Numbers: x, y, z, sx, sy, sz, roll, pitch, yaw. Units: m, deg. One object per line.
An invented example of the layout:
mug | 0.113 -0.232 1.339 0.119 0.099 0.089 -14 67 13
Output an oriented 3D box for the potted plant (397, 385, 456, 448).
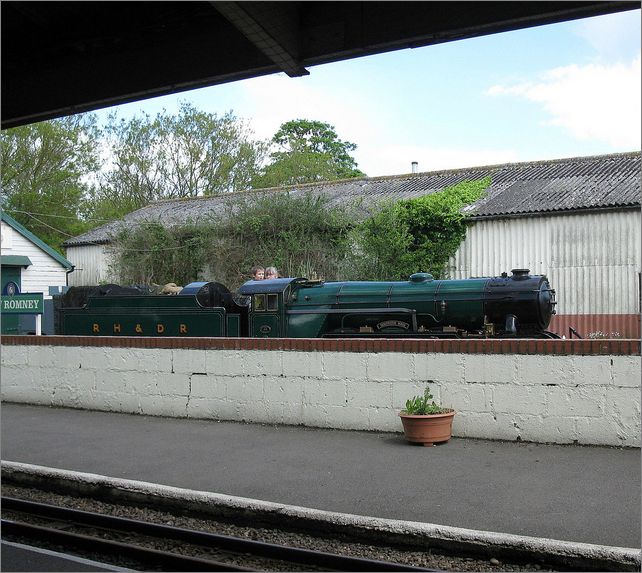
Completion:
potted plant | 1.478 1.800 8.920 0.755 0.810 0.729 2 -8 -33

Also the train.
train | 0.348 0.415 14.199 9.704 1.756 1.878 -3 -2 24
